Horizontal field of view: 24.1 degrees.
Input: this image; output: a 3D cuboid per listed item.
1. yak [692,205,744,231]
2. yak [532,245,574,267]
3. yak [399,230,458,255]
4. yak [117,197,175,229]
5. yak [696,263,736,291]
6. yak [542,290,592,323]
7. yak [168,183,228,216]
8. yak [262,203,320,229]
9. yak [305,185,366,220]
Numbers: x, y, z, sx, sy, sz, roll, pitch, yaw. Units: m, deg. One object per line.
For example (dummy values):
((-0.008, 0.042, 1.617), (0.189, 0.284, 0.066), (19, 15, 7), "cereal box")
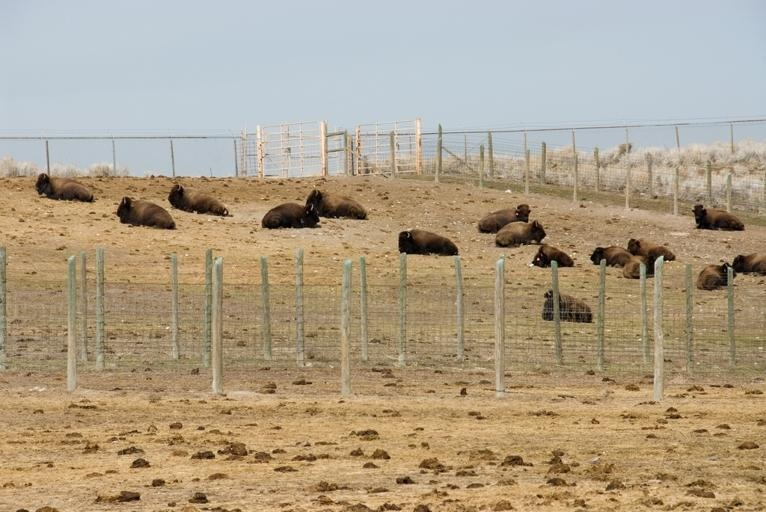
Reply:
((12.182, -1.309, 63.911), (2.148, 0.793, 0.757), (6, -17, 7), "yak")
((5.191, 0.053, 54.741), (1.320, 0.620, 1.016), (2, 13, 5), "yak")
((1.374, -0.411, 56.046), (2.300, 0.803, 0.704), (6, -10, -9), "yak")
((-7.740, -1.290, 58.554), (2.214, 0.826, 0.858), (19, 12, 28), "yak")
((9.840, 0.544, 52.212), (1.389, 0.658, 0.737), (-8, 10, -11), "yak")
((5.022, 1.382, 48.418), (1.508, 0.811, 0.800), (-4, 15, -18), "yak")
((-6.386, -1.861, 62.086), (2.217, 0.779, 0.905), (14, 3, 25), "yak")
((-3.094, -1.326, 59.921), (2.042, 0.738, 0.840), (-6, 15, -27), "yak")
((-1.572, -1.812, 62.313), (2.085, 0.910, 1.474), (1, 13, 1), "yak")
